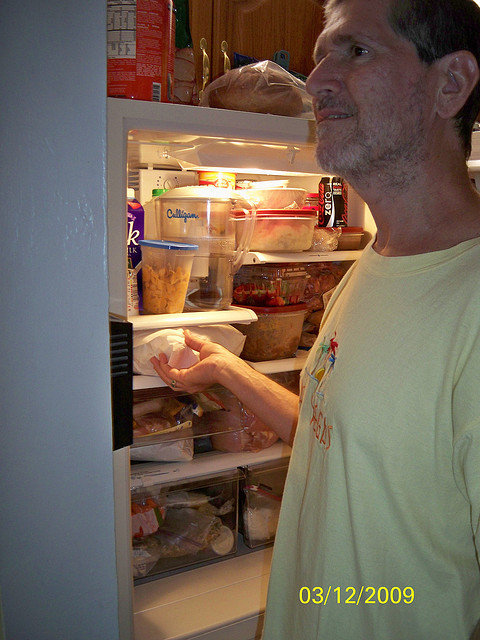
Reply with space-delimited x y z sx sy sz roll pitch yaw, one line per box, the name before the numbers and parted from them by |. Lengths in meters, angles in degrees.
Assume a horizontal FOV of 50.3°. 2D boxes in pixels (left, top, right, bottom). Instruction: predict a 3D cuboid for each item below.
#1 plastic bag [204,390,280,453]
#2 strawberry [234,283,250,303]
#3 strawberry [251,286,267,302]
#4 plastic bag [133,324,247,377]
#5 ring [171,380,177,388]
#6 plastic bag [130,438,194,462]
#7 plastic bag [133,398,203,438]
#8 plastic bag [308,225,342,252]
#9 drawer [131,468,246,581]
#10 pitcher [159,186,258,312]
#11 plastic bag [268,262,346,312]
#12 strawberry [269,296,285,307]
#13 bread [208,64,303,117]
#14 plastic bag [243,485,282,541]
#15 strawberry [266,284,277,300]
plastic bag | -0.017 0.262 1.516 0.223 0.184 0.261 -2 13 -20
strawberry | 0.005 -0.076 1.424 0.050 0.048 0.017 9 4 43
strawberry | 0.054 -0.073 1.396 0.041 0.038 0.017 3 -1 28
plastic bag | -0.102 0.072 1.225 0.303 0.126 0.099 -8 18 -30
ring | -0.150 0.147 1.174 0.003 0.013 0.013 -13 4 -43
plastic bag | -0.194 0.329 1.283 0.169 0.072 0.036 -7 17 -26
plastic bag | -0.194 0.241 1.298 0.156 0.079 0.129 -4 14 -35
plastic bag | 0.243 -0.240 1.468 0.086 0.055 0.064 -2 8 -29
drawer | -0.195 0.523 1.612 0.381 0.293 0.347 -6 15 -29
pitcher | -0.097 -0.164 1.262 0.280 0.305 0.198 -2 6 -9
plastic bag | 0.221 -0.115 1.612 0.222 0.089 0.151 -8 13 -40
strawberry | 0.103 -0.054 1.393 0.047 0.025 0.013 -6 17 -24
bread | 0.035 -0.486 1.083 0.185 0.070 0.212 9 35 1
plastic bag | 0.068 0.593 1.581 0.114 0.198 0.036 -3 16 -15
strawberry | 0.084 -0.079 1.389 0.030 0.035 0.020 3 -3 -5
